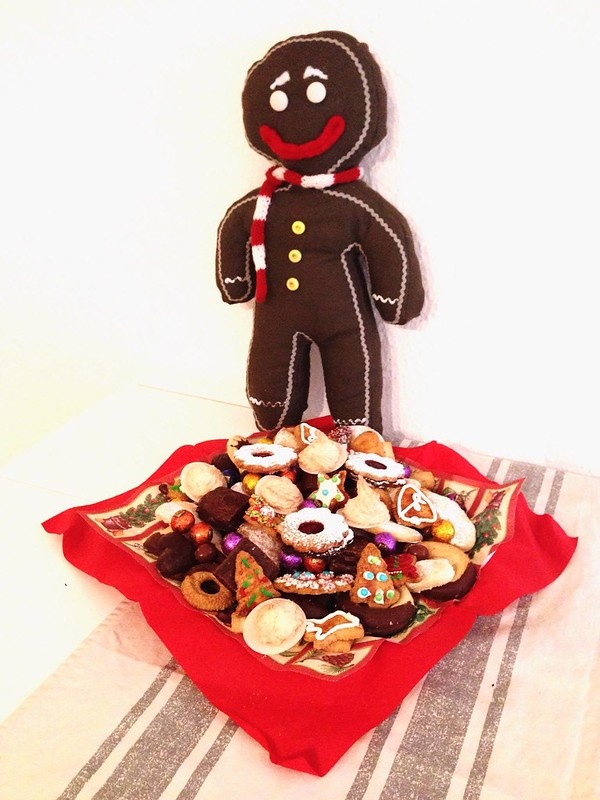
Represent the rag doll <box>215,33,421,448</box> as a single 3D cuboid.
[{"bbox_3d":[0.017,-0.284,1.456,0.425,0.770,0.166,10,26,29],"label":"rag doll"}]
